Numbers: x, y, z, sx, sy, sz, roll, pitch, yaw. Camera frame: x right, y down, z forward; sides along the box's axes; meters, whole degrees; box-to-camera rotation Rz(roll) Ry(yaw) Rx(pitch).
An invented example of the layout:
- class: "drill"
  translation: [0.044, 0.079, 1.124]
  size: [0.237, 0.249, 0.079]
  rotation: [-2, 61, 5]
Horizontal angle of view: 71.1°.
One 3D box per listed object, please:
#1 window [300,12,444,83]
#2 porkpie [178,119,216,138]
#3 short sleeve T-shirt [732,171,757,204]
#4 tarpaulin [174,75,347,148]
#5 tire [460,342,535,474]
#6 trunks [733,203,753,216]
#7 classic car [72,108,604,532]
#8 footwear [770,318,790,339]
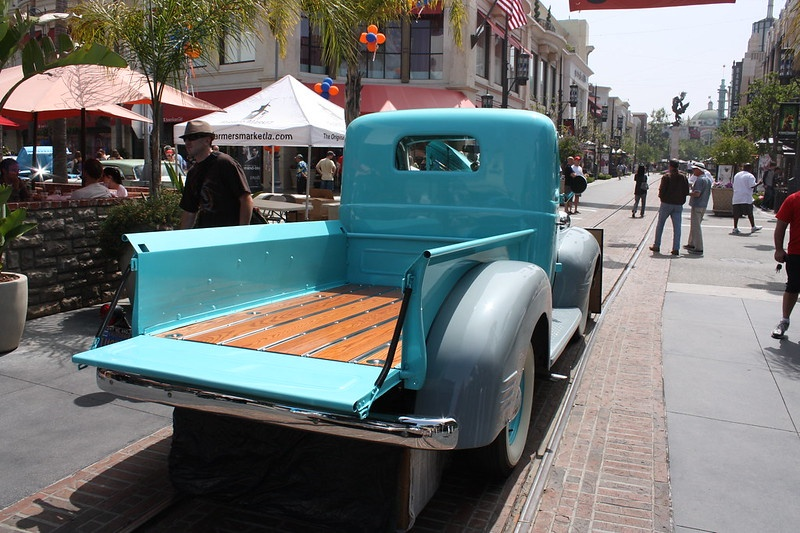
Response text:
- class: "window"
  translation: [-1.399, -11.086, 27.868]
  size: [7.323, 3.300, 1.211]
  rotation: [-4, 11, -17]
- class: "porkpie"
  translation: [-2.185, -1.503, 6.145]
  size: [0.215, 0.106, 0.260]
  rotation: [1, 7, 4]
- class: "short sleeve T-shirt"
  translation: [11.332, -2.565, 18.360]
  size: [0.533, 1.038, 0.773]
  rotation: [0, 4, -25]
- class: "tarpaulin"
  translation: [-2.786, -3.130, 11.749]
  size: [2.985, 1.473, 3.208]
  rotation: [6, 16, 24]
- class: "tire"
  translation: [0.670, 1.020, 3.959]
  size: [0.281, 1.107, 0.930]
  rotation: [-2, -10, 22]
- class: "trunks"
  translation: [11.384, -1.867, 18.527]
  size: [0.351, 0.539, 0.619]
  rotation: [6, -9, -44]
- class: "classic car"
  translation: [0.106, 0.255, 5.140]
  size: [2.827, 2.317, 4.707]
  rotation: [6, 16, 26]
- class: "footwear"
  translation: [5.224, 0.865, 7.713]
  size: [0.411, 0.191, 0.135]
  rotation: [-31, 28, -34]
